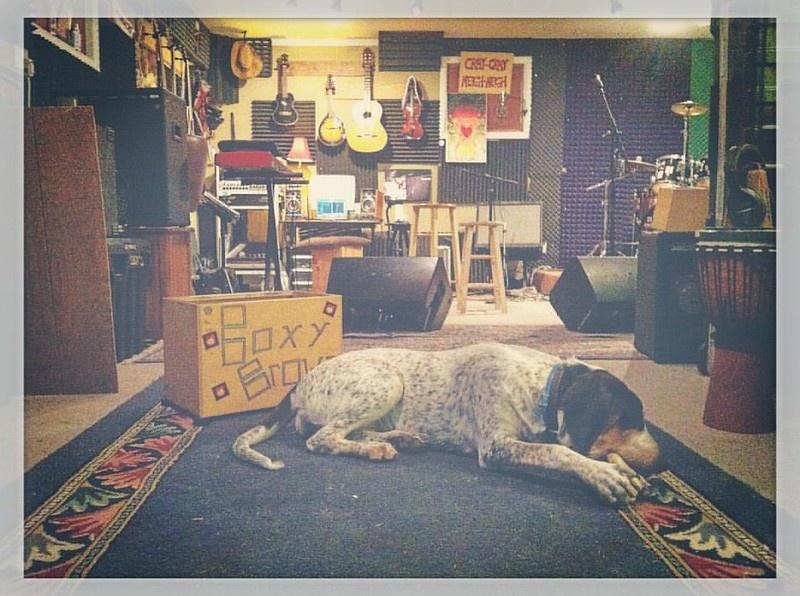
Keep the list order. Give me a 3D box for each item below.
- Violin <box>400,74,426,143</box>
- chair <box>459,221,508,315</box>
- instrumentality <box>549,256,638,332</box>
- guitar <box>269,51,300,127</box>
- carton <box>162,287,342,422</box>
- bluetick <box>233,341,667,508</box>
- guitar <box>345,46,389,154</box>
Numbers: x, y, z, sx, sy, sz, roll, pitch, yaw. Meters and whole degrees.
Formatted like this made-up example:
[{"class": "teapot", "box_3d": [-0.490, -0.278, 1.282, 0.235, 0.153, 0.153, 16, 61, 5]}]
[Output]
[{"class": "Violin", "box_3d": [0.065, -0.969, 3.793, 0.110, 0.316, 0.094, 0, 7, 2]}, {"class": "chair", "box_3d": [0.504, -0.217, 4.649, 0.299, 0.547, 0.573, 0, 8, 5]}, {"class": "instrumentality", "box_3d": [1.135, -0.035, 4.330, 0.475, 0.464, 0.401, 0, 8, -31]}, {"class": "guitar", "box_3d": [-0.596, -1.053, 3.762, 0.154, 0.360, 0.073, 5, 9, 39]}, {"class": "carton", "box_3d": [-0.788, 0.275, 3.990, 0.873, 0.587, 0.457, -6, 8, -42]}, {"class": "bluetick", "box_3d": [0.341, 0.491, 3.588, 1.276, 0.456, 0.963, 3, -1, 14]}, {"class": "guitar", "box_3d": [-0.175, -1.018, 3.824, 0.216, 0.493, 0.172, -1, 7, -5]}]
